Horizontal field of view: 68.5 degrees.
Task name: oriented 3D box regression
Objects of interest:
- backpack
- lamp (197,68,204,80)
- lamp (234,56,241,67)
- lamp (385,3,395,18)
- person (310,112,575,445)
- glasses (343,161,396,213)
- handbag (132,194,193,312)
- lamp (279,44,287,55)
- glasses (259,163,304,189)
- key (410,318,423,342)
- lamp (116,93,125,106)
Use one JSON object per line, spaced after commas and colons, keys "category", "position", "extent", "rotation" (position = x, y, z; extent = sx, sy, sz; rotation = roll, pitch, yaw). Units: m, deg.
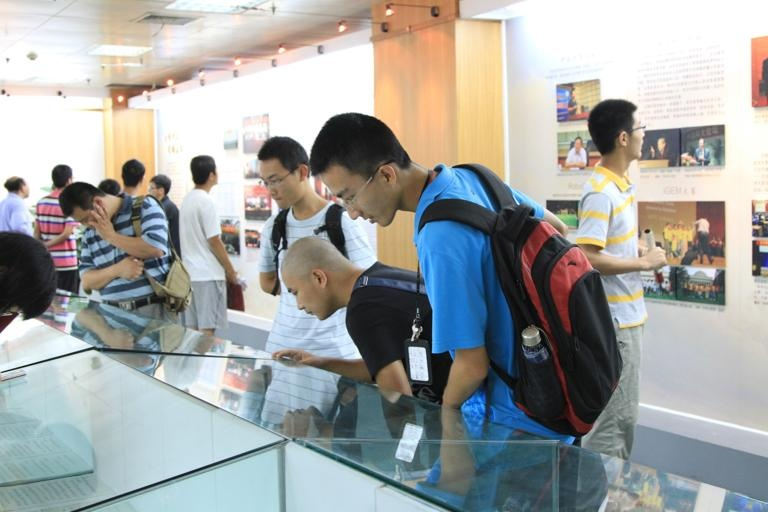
{"category": "backpack", "position": [0.498, 0.210, 1.935], "extent": [0.582, 0.818, 0.248], "rotation": [4, 11, 28]}
{"category": "lamp", "position": [-2.877, -2.841, 8.856], "extent": [0.044, 0.205, 0.212], "rotation": [2, -7, -34]}
{"category": "lamp", "position": [-2.037, -2.724, 7.845], "extent": [0.106, 0.108, 0.136], "rotation": [-5, 3, -14]}
{"category": "lamp", "position": [0.059, -2.465, 5.632], "extent": [0.093, 0.103, 0.114], "rotation": [-7, 12, -9]}
{"category": "person", "position": [0.297, 0.254, 2.401], "extent": [0.614, 1.830, 0.827], "rotation": [0, 31, 31]}
{"category": "glasses", "position": [-0.030, -0.225, 2.083], "extent": [0.177, 0.053, 0.169], "rotation": [-45, 6, -12]}
{"category": "handbag", "position": [-1.514, 0.029, 3.873], "extent": [0.284, 0.750, 0.464], "rotation": [-26, -4, -17]}
{"category": "lamp", "position": [-1.313, -2.679, 7.241], "extent": [0.093, 0.042, 0.119], "rotation": [-4, -17, 1]}
{"category": "glasses", "position": [-0.593, -0.505, 3.271], "extent": [0.180, 0.055, 0.175], "rotation": [-35, 15, -26]}
{"category": "key", "position": [0.125, 0.279, 2.097], "extent": [0.030, 0.105, 0.043], "rotation": [6, -21, 9]}
{"category": "lamp", "position": [-4.951, -2.956, 10.618], "extent": [0.035, 0.147, 0.147], "rotation": [16, 4, 39]}
